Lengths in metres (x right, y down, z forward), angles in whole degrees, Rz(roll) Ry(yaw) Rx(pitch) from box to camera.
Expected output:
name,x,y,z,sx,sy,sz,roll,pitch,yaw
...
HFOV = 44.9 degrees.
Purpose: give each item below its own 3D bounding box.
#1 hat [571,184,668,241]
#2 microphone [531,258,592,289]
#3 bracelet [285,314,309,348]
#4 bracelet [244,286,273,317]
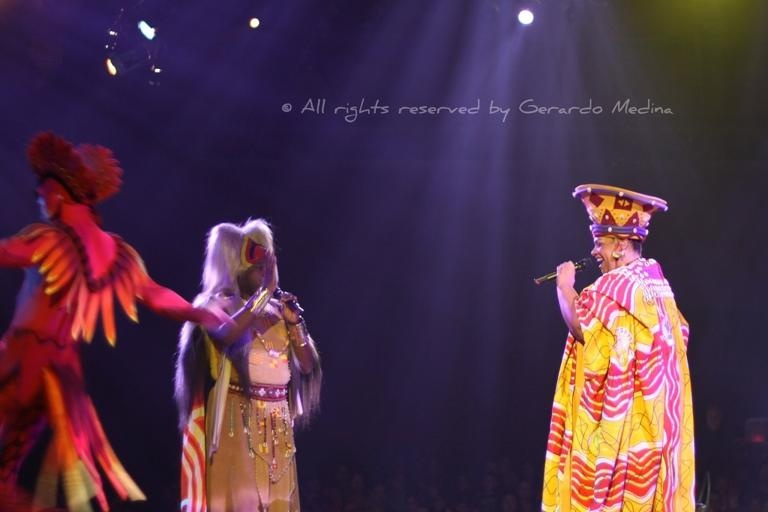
name,x,y,z,sx,sy,sz,roll,pitch,yaw
hat,1.461,-0.213,5.970,0.428,0.234,0.409,8,-12,-28
microphone,1.224,0.126,6.379,0.329,0.084,0.099,-20,-20,5
bracelet,-0.556,0.507,6.337,0.152,0.195,0.196,-25,8,-10
bracelet,-0.822,0.310,6.132,0.190,0.080,0.081,-43,-6,-13
